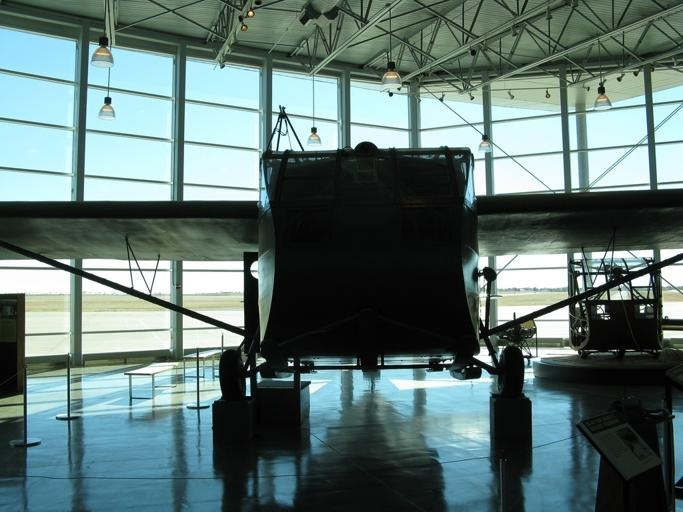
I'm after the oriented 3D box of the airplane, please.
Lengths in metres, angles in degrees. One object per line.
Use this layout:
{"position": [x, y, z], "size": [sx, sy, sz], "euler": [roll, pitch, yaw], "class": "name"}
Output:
{"position": [0.074, 0.211, 15.757], "size": [12.973, 4.781, 6.634], "euler": [-1, -7, -2], "class": "airplane"}
